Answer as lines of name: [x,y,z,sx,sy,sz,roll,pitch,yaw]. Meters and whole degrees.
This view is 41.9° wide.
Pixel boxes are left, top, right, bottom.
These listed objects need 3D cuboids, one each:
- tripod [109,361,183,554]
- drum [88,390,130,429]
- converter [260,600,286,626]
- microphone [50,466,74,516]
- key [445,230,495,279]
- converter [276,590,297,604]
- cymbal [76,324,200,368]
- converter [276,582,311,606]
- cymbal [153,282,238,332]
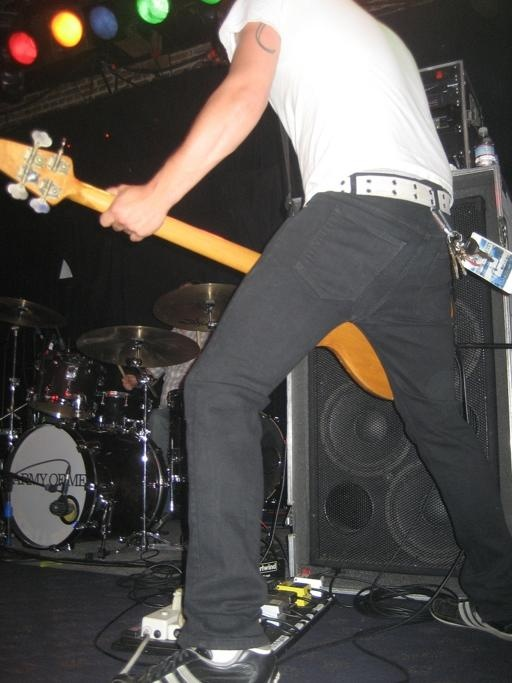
tripod: [-0.599,0.665,4.192,0.591,0.962,0.335,2,3,28]
drum: [-0.831,0.407,3.961,0.239,0.203,0.228,11,-14,-39]
converter: [0.050,0.724,1.790,0.084,0.027,0.128,1,-3,9]
microphone: [-0.903,0.721,3.121,0.104,0.220,0.219,-9,20,-9]
key: [0.501,-0.222,1.662,0.173,0.086,0.043,16,-20,-39]
converter: [0.087,0.732,1.929,0.040,0.014,0.052,0,-7,7]
cymbal: [-0.647,0.027,3.702,0.409,0.087,0.382,-9,-33,22]
converter: [0.120,0.741,1.967,0.074,0.022,0.050,7,2,-7]
cymbal: [-0.272,-0.178,3.674,0.469,0.304,0.457,0,12,0]
